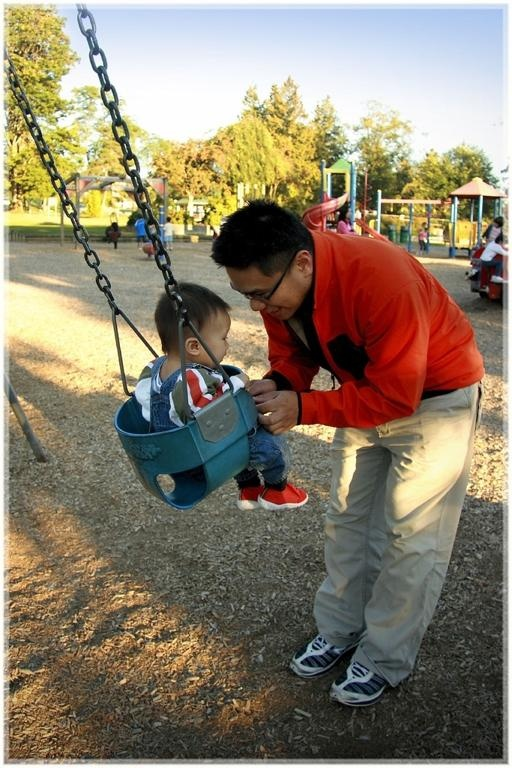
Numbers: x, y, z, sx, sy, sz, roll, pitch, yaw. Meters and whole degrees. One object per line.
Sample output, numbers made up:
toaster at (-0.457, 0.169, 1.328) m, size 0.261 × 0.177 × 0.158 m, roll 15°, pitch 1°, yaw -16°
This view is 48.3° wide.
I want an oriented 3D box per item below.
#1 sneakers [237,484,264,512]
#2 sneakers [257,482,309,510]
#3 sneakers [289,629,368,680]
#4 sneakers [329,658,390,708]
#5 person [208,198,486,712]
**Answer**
sneakers at (-0.019, 0.428, 2.160) m, size 0.052 × 0.057 × 0.137 m, roll -1°, pitch 11°, yaw 8°
sneakers at (0.110, 0.411, 2.093) m, size 0.195 × 0.086 × 0.086 m, roll -4°, pitch 9°, yaw -27°
sneakers at (0.251, 0.914, 1.998) m, size 0.254 × 0.097 × 0.089 m, roll -16°, pitch 30°, yaw -23°
sneakers at (0.314, 0.930, 1.780) m, size 0.092 × 0.081 × 0.198 m, roll -4°, pitch -13°, yaw 31°
person at (0.297, 0.253, 1.760) m, size 0.710 × 1.562 × 0.544 m, roll 4°, pitch 14°, yaw 20°
